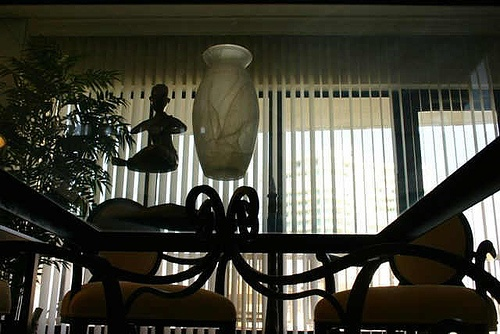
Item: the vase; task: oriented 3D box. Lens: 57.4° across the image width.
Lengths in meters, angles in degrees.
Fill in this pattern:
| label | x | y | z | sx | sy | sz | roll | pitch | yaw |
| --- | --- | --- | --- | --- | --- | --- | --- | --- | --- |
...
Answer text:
| label | x | y | z | sx | sy | sz | roll | pitch | yaw |
| --- | --- | --- | --- | --- | --- | --- | --- | --- | --- |
| vase | -0.151 | -0.320 | 2.672 | 0.340 | 0.754 | 0.316 | 18 | -25 | -35 |
